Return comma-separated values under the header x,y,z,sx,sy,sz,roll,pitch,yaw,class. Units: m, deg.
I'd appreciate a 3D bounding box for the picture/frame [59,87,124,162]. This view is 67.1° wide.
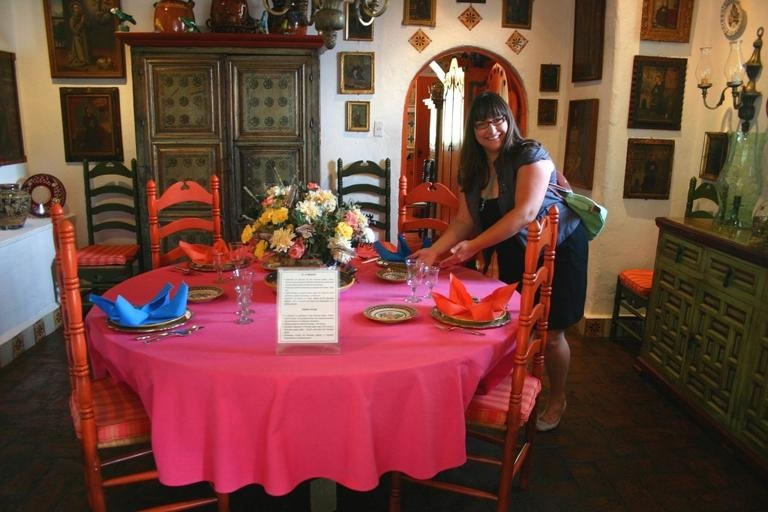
x,y,z,sx,sy,sz,roll,pitch,yaw,class
-2.585,-1.184,5.090,0.662,0.846,0.084,0,7,-4,picture/frame

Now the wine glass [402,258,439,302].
x,y,z,sx,sy,sz,roll,pitch,yaw,class
0.184,0.130,3.132,0.210,0.273,0.212,0,6,-7,wine glass

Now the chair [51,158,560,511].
x,y,z,sx,sy,sz,roll,pitch,yaw,class
-0.738,0.473,3.440,1.823,1.160,1.849,2,20,2,chair

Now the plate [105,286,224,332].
x,y,z,sx,sy,sz,roll,pitch,yaw,class
-1.123,0.273,2.791,0.263,0.119,0.302,10,11,28,plate

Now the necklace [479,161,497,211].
x,y,z,sx,sy,sz,roll,pitch,yaw,class
0.637,-0.409,3.469,0.123,0.213,0.114,-7,12,25,necklace

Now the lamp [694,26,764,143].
x,y,z,sx,sy,sz,roll,pitch,yaw,class
2.481,-1.257,4.177,0.212,0.701,0.469,-3,13,-10,lamp
